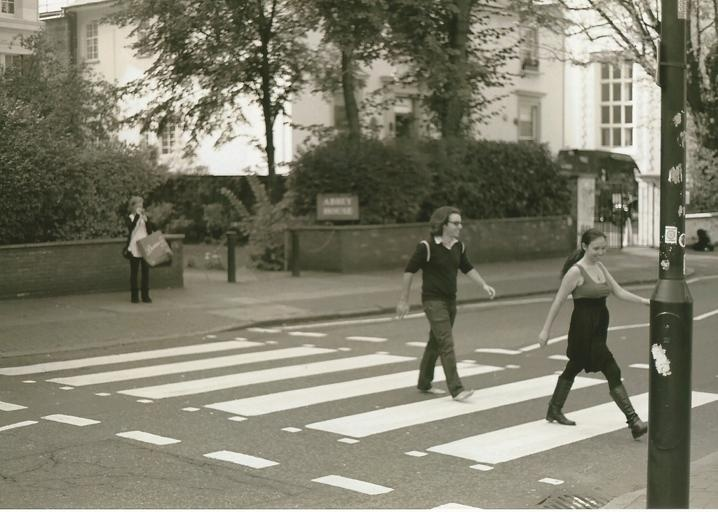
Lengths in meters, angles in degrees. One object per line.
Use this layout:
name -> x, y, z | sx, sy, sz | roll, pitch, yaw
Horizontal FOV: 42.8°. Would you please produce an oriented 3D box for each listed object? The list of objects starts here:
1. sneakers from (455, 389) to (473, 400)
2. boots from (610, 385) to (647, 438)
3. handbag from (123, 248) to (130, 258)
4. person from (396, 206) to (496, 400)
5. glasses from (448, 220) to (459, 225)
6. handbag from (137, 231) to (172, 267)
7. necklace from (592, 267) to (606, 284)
sneakers -> 1.281, 1.709, 11.237 | 0.227, 0.135, 0.244 | -2, 3, 8
boots -> 2.963, 1.701, 10.037 | 0.422, 0.582, 0.275 | 0, 3, 36
handbag -> -4.648, -0.048, 18.220 | 0.176, 0.187, 0.041 | -37, -16, 24
person -> 1.029, 0.579, 11.452 | 1.180, 2.384, 0.907 | -3, 3, -14
glasses -> 1.178, -0.409, 11.325 | 0.148, 0.055, 0.057 | -3, 3, -14
handbag -> -4.072, -0.180, 18.235 | 0.240, 0.609, 0.580 | 3, 26, 42
necklace -> 2.676, 0.223, 10.272 | 0.164, 0.179, 0.040 | 13, 19, 43
